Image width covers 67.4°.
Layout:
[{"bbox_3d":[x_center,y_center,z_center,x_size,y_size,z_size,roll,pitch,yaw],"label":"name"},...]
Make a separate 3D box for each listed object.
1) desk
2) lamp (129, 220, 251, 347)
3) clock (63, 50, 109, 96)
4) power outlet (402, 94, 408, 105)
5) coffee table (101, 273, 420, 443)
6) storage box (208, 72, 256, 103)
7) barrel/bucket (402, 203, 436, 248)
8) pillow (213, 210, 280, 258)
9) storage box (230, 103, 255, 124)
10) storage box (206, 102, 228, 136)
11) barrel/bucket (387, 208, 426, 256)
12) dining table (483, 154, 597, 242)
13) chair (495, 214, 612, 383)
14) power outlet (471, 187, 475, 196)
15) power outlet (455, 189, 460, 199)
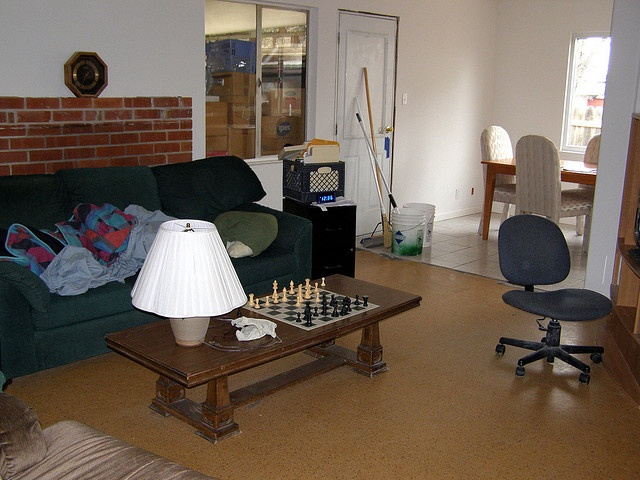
[{"bbox_3d":[-0.028,-0.083,4.492,0.584,0.726,0.491,-9,19,-41],"label":"desk"},{"bbox_3d":[-0.514,0.187,2.112,0.505,0.516,0.506,18,28,35],"label":"lamp"},{"bbox_3d":[-1.843,-1.307,3.756,0.050,0.380,0.384,11,12,38],"label":"clock"},{"bbox_3d":[1.117,-1.843,6.293,0.007,0.143,0.116,14,20,42],"label":"power outlet"},{"bbox_3d":[-0.557,0.558,3.041,1.735,0.680,1.431,-3,16,-44],"label":"coffee table"},{"bbox_3d":[-0.862,-1.486,4.853,0.348,0.210,0.342,-6,11,-26],"label":"storage box"},{"bbox_3d":[1.202,-0.220,5.780,0.358,0.520,0.334,4,15,-1],"label":"barrel/bucket"},{"bbox_3d":[-0.612,-0.073,3.706,0.376,0.150,0.377,13,27,20],"label":"pillow"},{"bbox_3d":[-0.806,-1.282,4.915,0.332,0.222,0.176,-7,12,-41],"label":"storage box"},{"bbox_3d":[-1.028,-1.214,4.772,0.295,0.283,0.159,-7,20,-26],"label":"storage box"},{"bbox_3d":[1.009,-0.104,5.446,0.391,0.525,0.392,2,13,-1],"label":"barrel/bucket"},{"bbox_3d":[2.710,-0.526,6.004,0.848,1.477,0.767,-8,15,-38],"label":"dining table"},{"bbox_3d":[1.551,0.346,3.233,0.721,0.944,0.823,-1,14,-6],"label":"chair"},{"bbox_3d":[2.416,-0.771,7.589,0.016,0.108,0.082,14,20,43],"label":"power outlet"},{"bbox_3d":[2.093,-0.705,7.333,0.013,0.153,0.134,5,12,39],"label":"power outlet"}]
